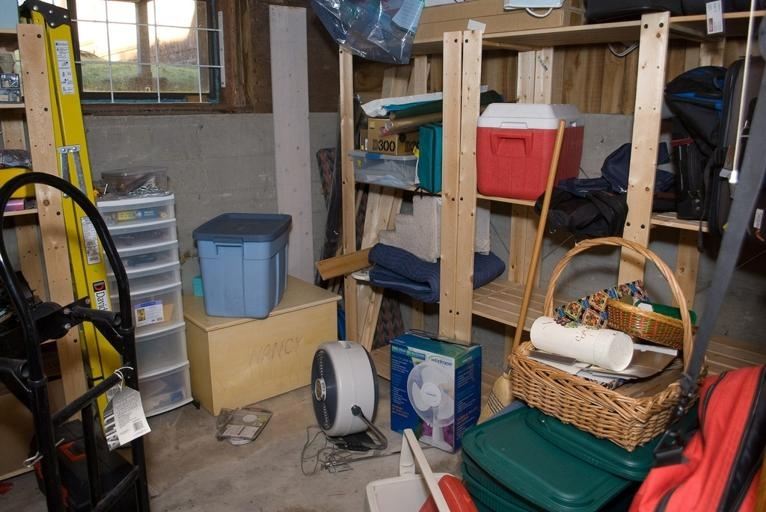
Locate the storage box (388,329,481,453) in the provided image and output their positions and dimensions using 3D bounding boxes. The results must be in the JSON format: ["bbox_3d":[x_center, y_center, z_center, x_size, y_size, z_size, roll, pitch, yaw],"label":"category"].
[{"bbox_3d":[0.288,0.746,3.145,0.553,0.660,0.348,8,13,39],"label":"storage box"}]

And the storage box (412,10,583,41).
[{"bbox_3d":[0.571,-1.218,3.041,0.890,0.106,0.220,15,25,40],"label":"storage box"}]

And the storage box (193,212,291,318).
[{"bbox_3d":[-0.799,0.035,3.640,0.481,0.496,0.636,4,17,8],"label":"storage box"}]

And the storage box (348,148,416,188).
[{"bbox_3d":[0.020,-0.556,3.529,0.332,0.127,0.250,9,15,36],"label":"storage box"}]

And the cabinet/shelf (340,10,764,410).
[{"bbox_3d":[0.844,-0.256,2.844,1.957,1.890,0.638,12,18,43],"label":"cabinet/shelf"}]
